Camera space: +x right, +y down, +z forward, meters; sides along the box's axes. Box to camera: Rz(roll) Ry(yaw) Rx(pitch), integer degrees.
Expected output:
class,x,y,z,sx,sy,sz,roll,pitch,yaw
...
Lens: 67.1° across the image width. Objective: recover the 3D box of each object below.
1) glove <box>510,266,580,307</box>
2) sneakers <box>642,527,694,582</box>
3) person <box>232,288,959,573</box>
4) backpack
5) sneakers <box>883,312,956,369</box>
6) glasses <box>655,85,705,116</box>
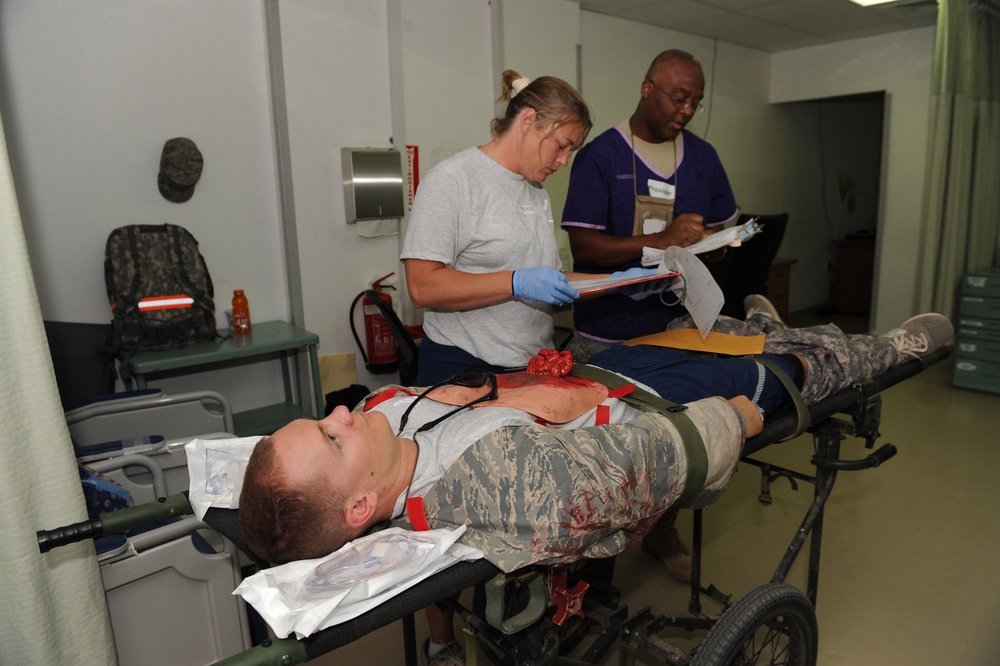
class,x,y,z,sx,sy,sz,roll,pitch,yaw
glove,0.167,-0.179,2.873,0.203,0.154,0.084,8,18,0
sneakers,0.853,1.078,3.862,0.329,0.240,0.133,17,36,42
person,0.422,0.349,2.784,2.368,0.509,0.984,-7,21,-25
backpack,-1.889,-0.243,4.213,0.590,0.770,0.425,-8,-14,-43
sneakers,1.920,0.010,3.452,0.198,0.107,0.366,21,25,40
glasses,0.782,-1.039,3.338,0.136,0.093,0.176,-1,1,-27
